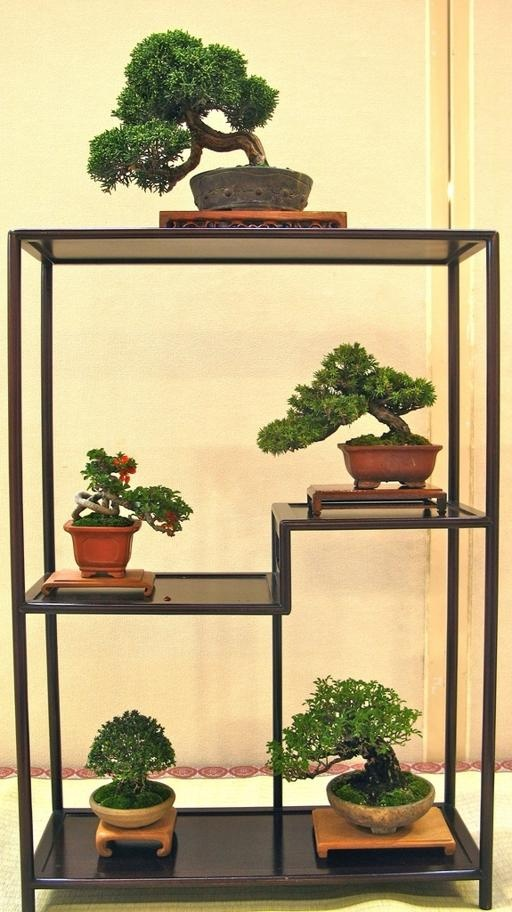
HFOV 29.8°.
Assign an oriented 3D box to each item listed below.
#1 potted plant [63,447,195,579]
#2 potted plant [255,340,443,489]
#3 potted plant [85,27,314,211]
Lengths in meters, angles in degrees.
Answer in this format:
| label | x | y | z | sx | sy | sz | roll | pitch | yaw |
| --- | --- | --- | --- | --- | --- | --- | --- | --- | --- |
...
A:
| label | x | y | z | sx | sy | sz | roll | pitch | yaw |
| --- | --- | --- | --- | --- | --- | --- | --- | --- | --- |
| potted plant | -0.310 | 0.134 | 2.239 | 0.328 | 0.348 | 0.234 | -1 | 2 | -8 |
| potted plant | 0.214 | -0.092 | 2.256 | 0.412 | 0.336 | 0.208 | 0 | 2 | -1 |
| potted plant | -0.130 | -0.734 | 2.204 | 0.498 | 0.398 | 0.256 | 0 | 2 | -5 |
